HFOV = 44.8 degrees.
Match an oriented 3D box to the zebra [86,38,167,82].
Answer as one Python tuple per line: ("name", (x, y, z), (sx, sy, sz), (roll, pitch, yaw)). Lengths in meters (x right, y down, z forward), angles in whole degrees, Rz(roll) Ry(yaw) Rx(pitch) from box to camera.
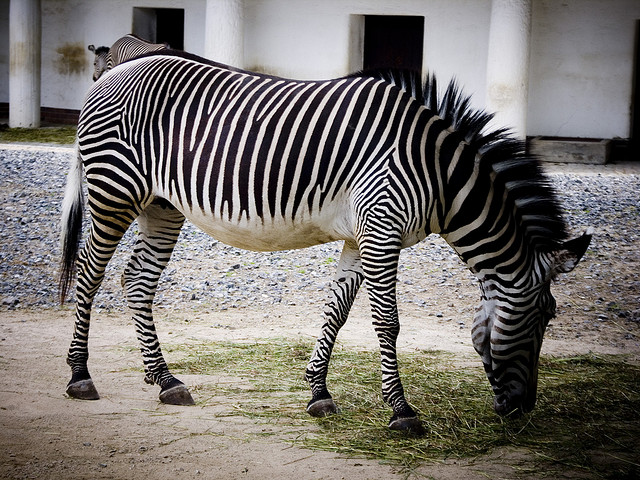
("zebra", (-1.600, -1.513, 6.598), (0.780, 0.374, 0.200), (-2, 22, 19))

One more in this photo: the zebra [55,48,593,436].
("zebra", (-0.054, 0.056, 5.109), (3.693, 2.196, 1.044), (5, -1, 9))
